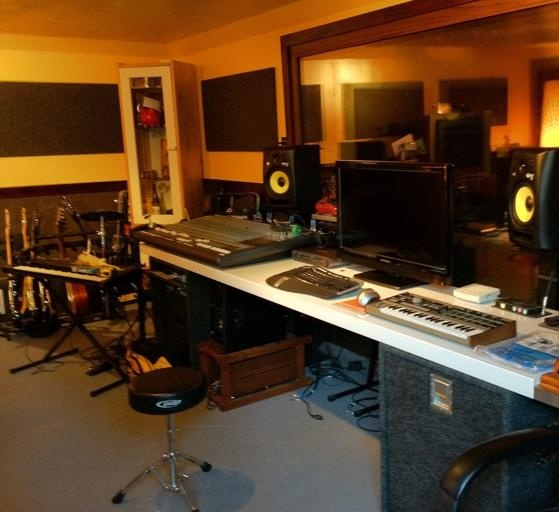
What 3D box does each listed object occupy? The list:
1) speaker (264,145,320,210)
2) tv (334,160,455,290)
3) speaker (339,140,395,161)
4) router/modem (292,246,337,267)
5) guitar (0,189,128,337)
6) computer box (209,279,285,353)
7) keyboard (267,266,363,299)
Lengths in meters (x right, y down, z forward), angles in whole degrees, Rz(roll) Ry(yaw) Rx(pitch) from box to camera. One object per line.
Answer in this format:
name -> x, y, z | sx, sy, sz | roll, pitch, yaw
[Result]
speaker -> 0.107, -0.495, 3.154 | 0.376, 0.348, 0.343 | -7, 13, -23
tv -> 0.487, -0.132, 2.088 | 0.192, 0.394, 0.655 | -11, 15, -29
speaker -> 0.487, -0.645, 3.022 | 0.144, 0.122, 0.439 | -9, 14, -19
router/modem -> 0.206, -0.004, 2.576 | 0.125, 0.035, 0.173 | -10, 15, -41
guitar -> -1.899, 0.082, 4.305 | 1.813, 1.242, 0.592 | 2, 4, 27
computer box -> -0.096, 0.360, 3.122 | 0.506, 0.396, 0.346 | -3, -5, -28
keyboard -> 0.149, 0.116, 2.178 | 0.181, 0.024, 0.256 | -15, 19, -37
